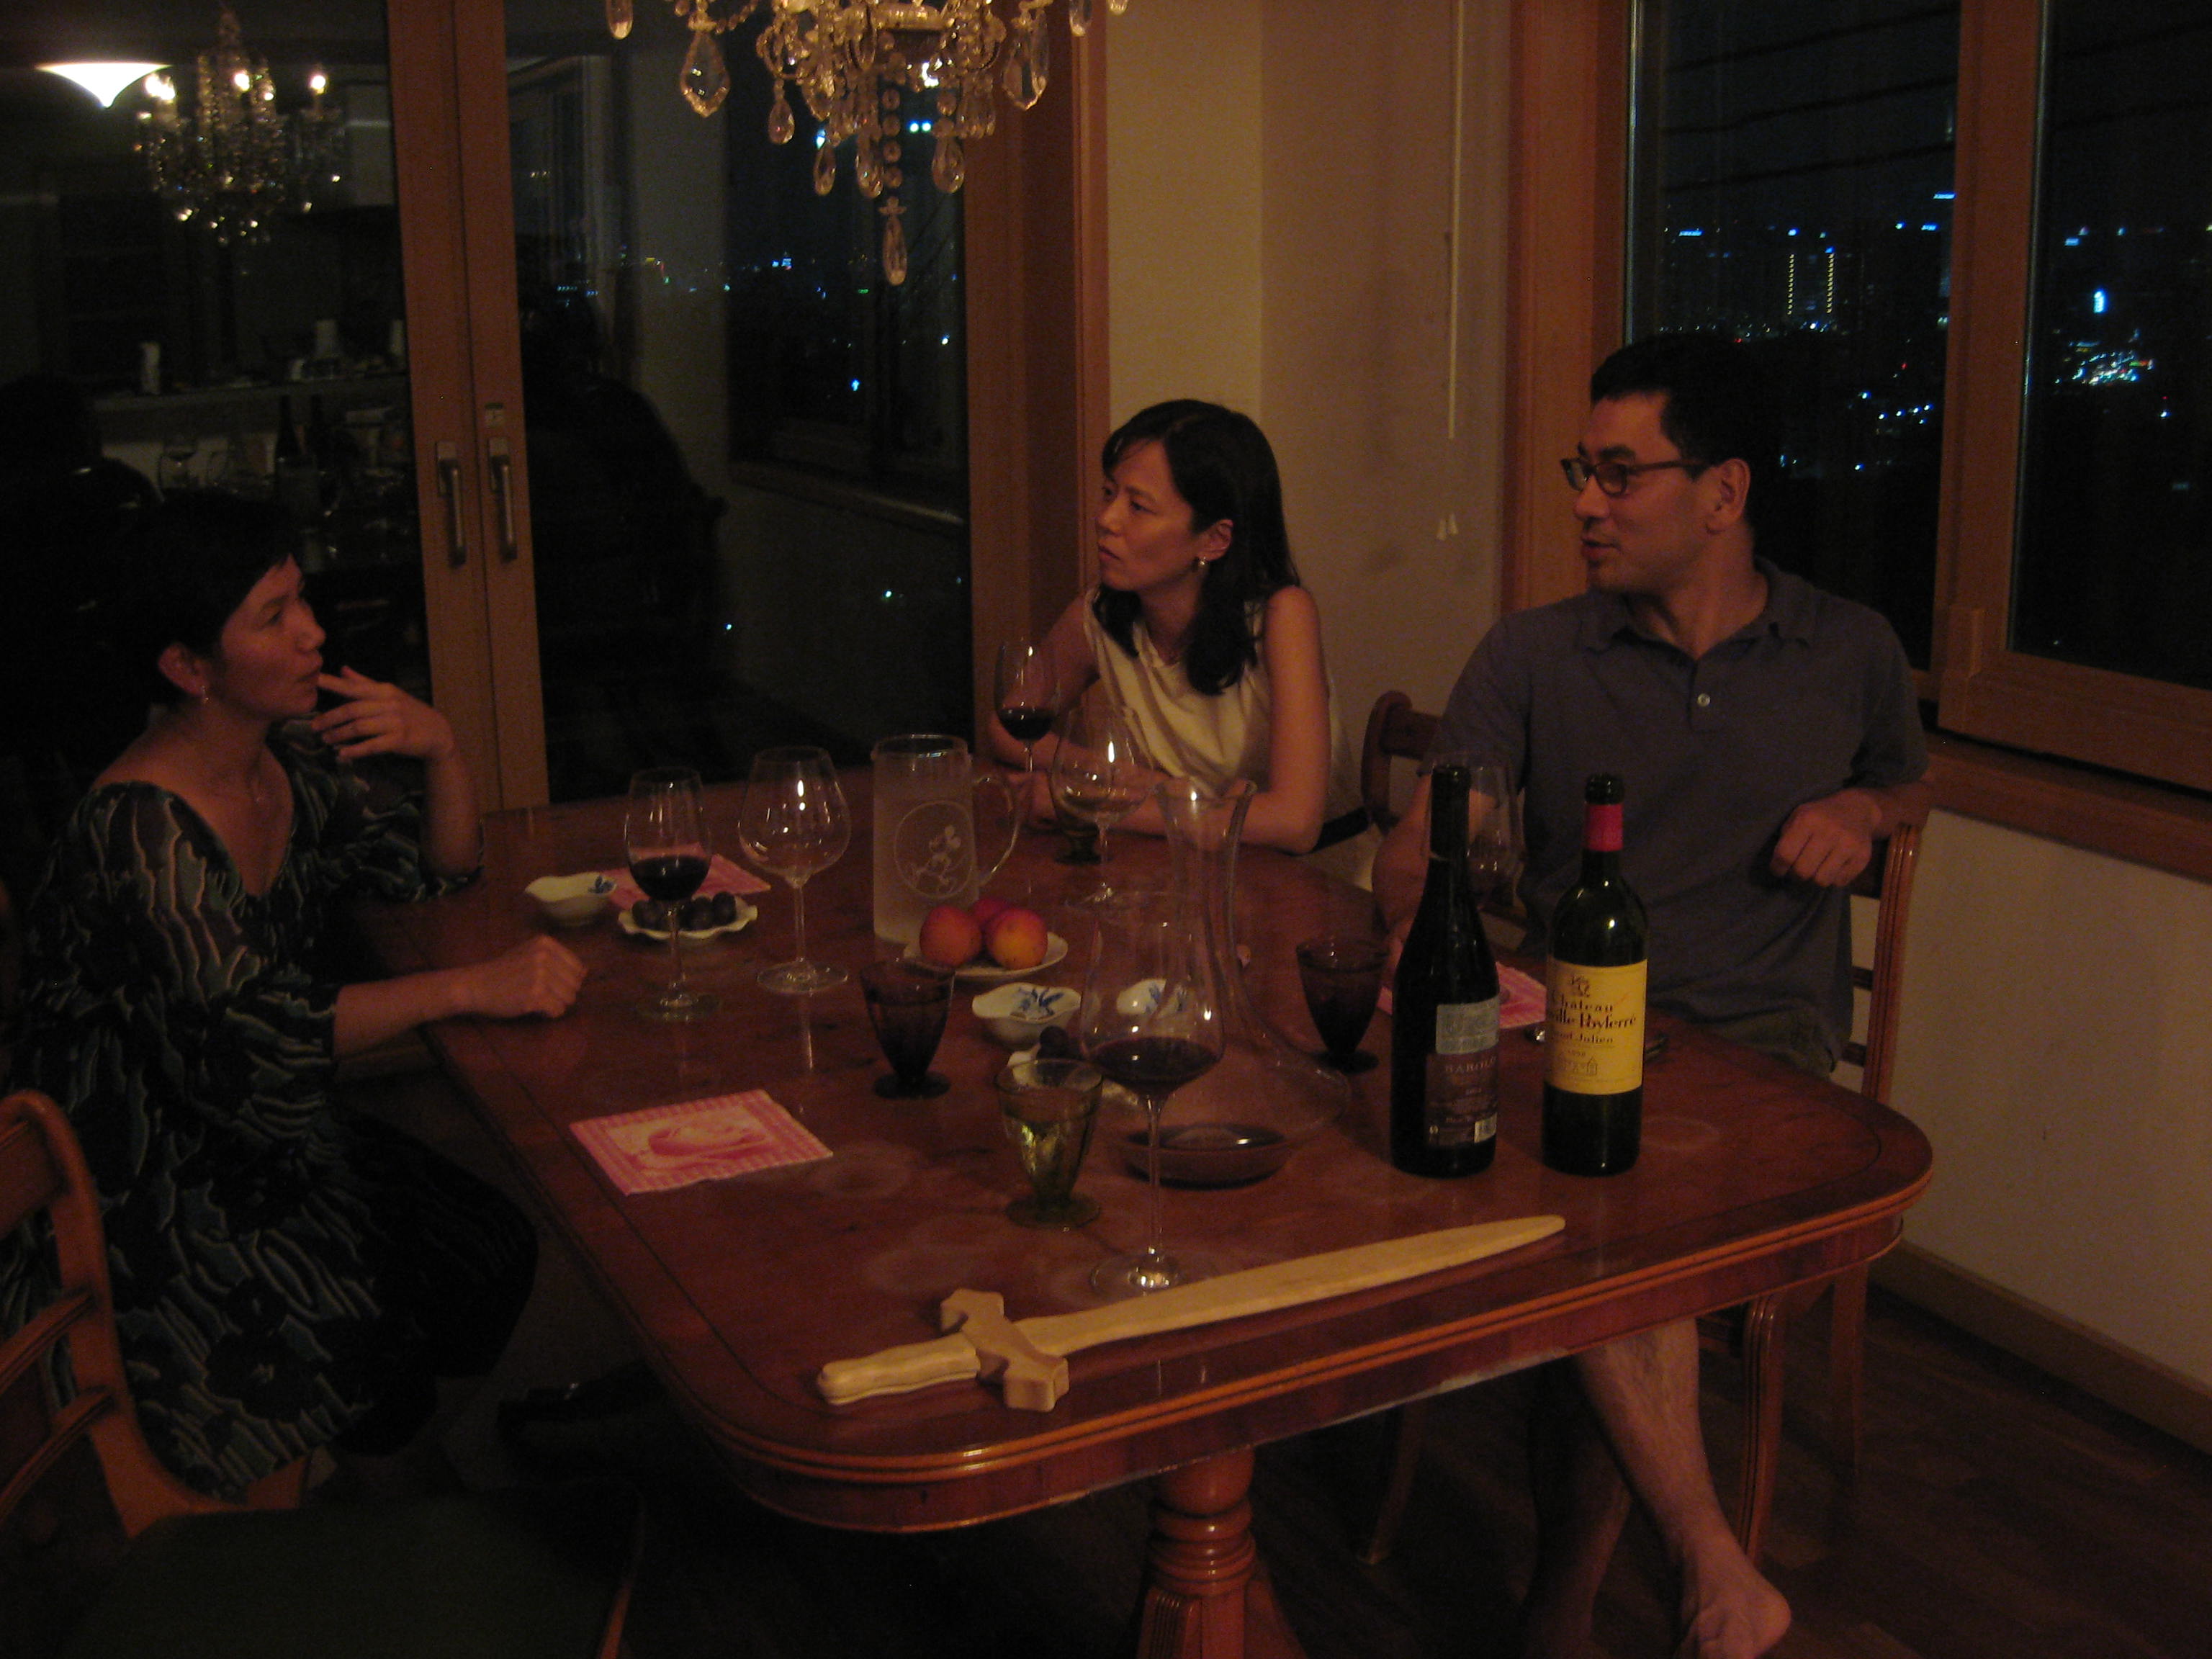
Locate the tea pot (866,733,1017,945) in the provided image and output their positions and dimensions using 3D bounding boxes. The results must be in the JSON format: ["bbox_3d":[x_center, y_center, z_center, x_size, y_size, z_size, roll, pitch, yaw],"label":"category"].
[{"bbox_3d":[-0.203,0.015,2.468,0.185,0.251,0.134,0,11,-1],"label":"tea pot"}]

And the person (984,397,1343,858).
[{"bbox_3d":[0.103,-0.305,3.349,0.533,0.904,0.507,4,17,6],"label":"person"}]

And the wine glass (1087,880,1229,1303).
[{"bbox_3d":[0.049,0.252,1.850,0.146,0.431,0.154,-9,17,-28],"label":"wine glass"}]

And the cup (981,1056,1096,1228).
[{"bbox_3d":[-0.042,0.288,1.807,0.084,0.160,0.098,3,7,-8],"label":"cup"}]

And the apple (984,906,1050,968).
[{"bbox_3d":[-0.112,0.135,2.276,0.064,0.075,0.066,0,6,-9],"label":"apple"}]

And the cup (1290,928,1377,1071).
[{"bbox_3d":[0.262,0.173,2.087,0.105,0.180,0.118,0,15,6],"label":"cup"}]

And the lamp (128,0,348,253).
[{"bbox_3d":[-1.732,-1.368,3.705,0.382,0.576,0.395,13,19,40],"label":"lamp"}]
